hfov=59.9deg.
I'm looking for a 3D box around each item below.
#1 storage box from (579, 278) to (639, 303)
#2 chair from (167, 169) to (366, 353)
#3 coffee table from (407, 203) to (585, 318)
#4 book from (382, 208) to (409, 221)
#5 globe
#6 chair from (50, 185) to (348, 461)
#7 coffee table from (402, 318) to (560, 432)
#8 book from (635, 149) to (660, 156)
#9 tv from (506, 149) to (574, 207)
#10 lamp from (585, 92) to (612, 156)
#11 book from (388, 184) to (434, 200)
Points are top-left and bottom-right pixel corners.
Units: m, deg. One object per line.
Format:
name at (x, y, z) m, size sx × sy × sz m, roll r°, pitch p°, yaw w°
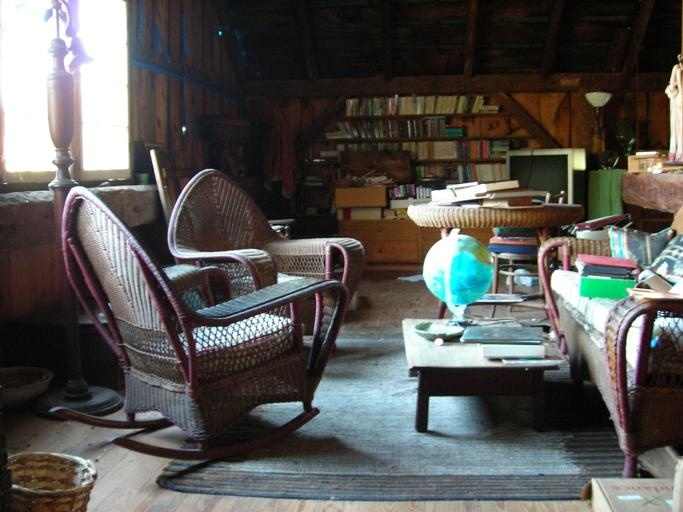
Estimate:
storage box at (1.197, 0.146, 2.698) m, size 0.171 × 0.071 × 0.117 m, roll 2°, pitch 4°, yaw 12°
chair at (-0.509, 0.003, 3.406) m, size 0.878 × 0.839 × 0.860 m, roll 14°, pitch 12°, yaw 31°
coffee table at (1.079, 0.012, 4.172) m, size 0.981 × 0.602 × 0.923 m, roll -1°, pitch 6°, yaw 9°
book at (0.630, -0.500, 6.985) m, size 0.281 × 0.117 × 0.183 m, roll -1°, pitch 11°, yaw -1°
globe at (0.574, 0.109, 2.951) m, size 0.365 × 0.396 × 0.368 m, roll 4°, pitch 17°, yaw 32°
chair at (-0.638, 0.285, 2.689) m, size 1.191 × 0.959 × 0.951 m, roll 1°, pitch 3°, yaw -36°
coffee table at (0.584, 0.445, 2.628) m, size 0.445 × 0.160 × 0.684 m, roll -1°, pitch 5°, yaw 3°
book at (2.274, -0.766, 4.416) m, size 0.152 × 0.027 × 0.287 m, roll 5°, pitch 12°, yaw 25°
tv at (2.186, -0.993, 6.771) m, size 0.794 × 0.625 × 0.443 m, roll -4°, pitch 35°, yaw -1°
lamp at (3.037, -1.592, 7.115) m, size 0.267 × 0.734 × 0.566 m, roll 3°, pitch 13°, yaw 21°
book at (0.819, -0.788, 7.206) m, size 0.513 × 0.178 × 0.278 m, roll 0°, pitch 11°, yaw 2°
